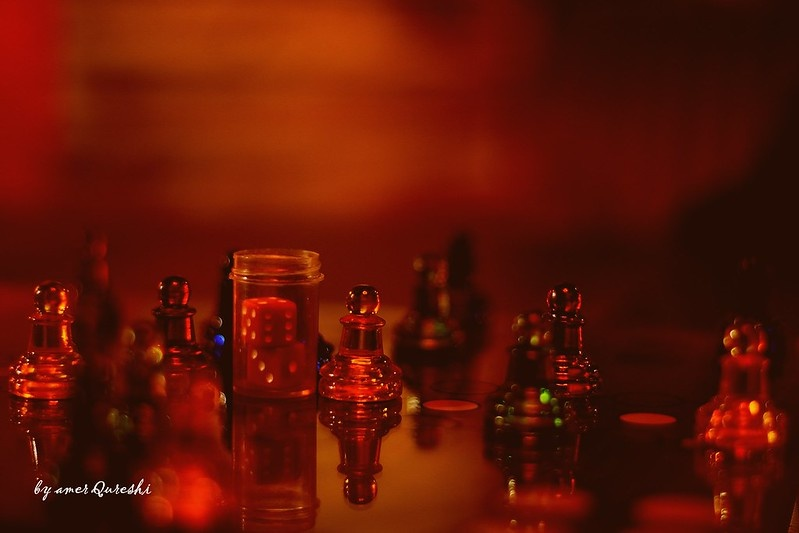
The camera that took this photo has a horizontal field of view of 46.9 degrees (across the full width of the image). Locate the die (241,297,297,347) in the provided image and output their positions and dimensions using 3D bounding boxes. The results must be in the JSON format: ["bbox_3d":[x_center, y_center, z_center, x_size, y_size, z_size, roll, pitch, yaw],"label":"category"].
[{"bbox_3d":[-0.240,0.104,1.695,0.104,0.079,0.101,2,9,-10],"label":"die"}]

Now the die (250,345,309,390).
[{"bbox_3d":[-0.224,0.192,1.729,0.092,0.085,0.091,0,2,-36],"label":"die"}]

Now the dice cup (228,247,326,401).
[{"bbox_3d":[-0.222,0.101,1.725,0.244,0.343,0.246,1,1,0],"label":"dice cup"}]
